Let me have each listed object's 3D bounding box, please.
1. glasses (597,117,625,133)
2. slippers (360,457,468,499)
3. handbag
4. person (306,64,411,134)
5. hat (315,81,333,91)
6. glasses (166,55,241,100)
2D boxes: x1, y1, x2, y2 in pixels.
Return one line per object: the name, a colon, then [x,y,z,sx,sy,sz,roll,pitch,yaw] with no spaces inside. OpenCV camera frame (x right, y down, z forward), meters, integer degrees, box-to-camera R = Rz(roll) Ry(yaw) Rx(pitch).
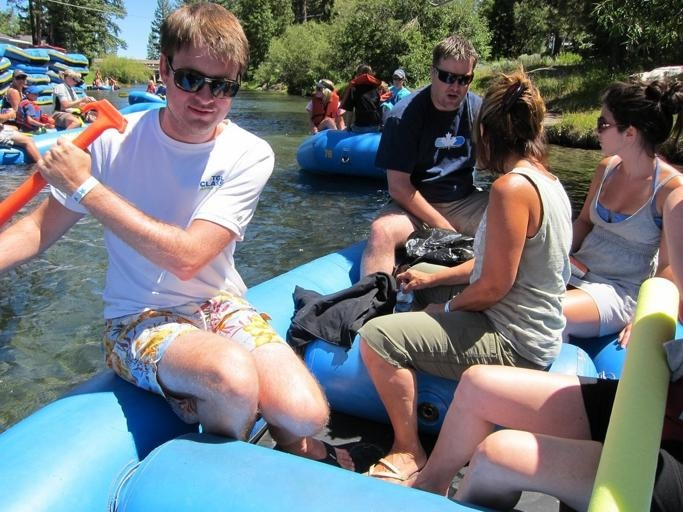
glasses: [1.541,-0.744,2.896,0.109,0.037,0.093,8,5,1]
slippers: [0.354,0.963,2.261,0.534,0.146,0.207,13,-13,-11]
handbag: [0.589,-0.028,3.339,0.498,0.206,0.304,-2,29,35]
person: [0.311,-3.175,10.481,1.343,1.067,2.327,-6,9,-24]
hat: [-0.319,-3.508,10.468,0.227,0.126,0.342,6,22,-3]
glasses: [-0.583,-0.752,2.163,0.300,0.132,0.158,0,22,-14]
